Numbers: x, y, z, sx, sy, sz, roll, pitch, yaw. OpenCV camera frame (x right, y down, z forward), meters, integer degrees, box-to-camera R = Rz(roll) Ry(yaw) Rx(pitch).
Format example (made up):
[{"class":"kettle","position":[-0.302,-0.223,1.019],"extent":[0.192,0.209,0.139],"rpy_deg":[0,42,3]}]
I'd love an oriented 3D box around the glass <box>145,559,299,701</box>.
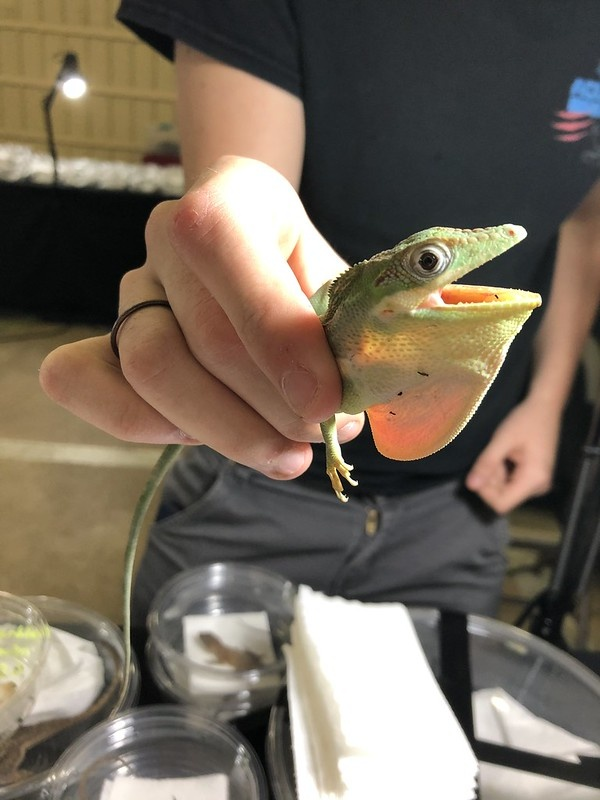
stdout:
[{"class":"glass","position":[-0.135,0.368,1.247],"extent":[0.186,0.146,0.232],"rpy_deg":[8,17,36]}]

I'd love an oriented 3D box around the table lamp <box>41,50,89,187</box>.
[{"class":"table lamp","position":[-0.535,-0.656,1.820],"extent":[0.129,0.254,0.067],"rpy_deg":[-2,3,18]}]

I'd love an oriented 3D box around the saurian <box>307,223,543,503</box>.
[{"class":"saurian","position":[0.124,-0.057,0.845],"extent":[0.217,0.281,0.113],"rpy_deg":[9,35,7]}]
